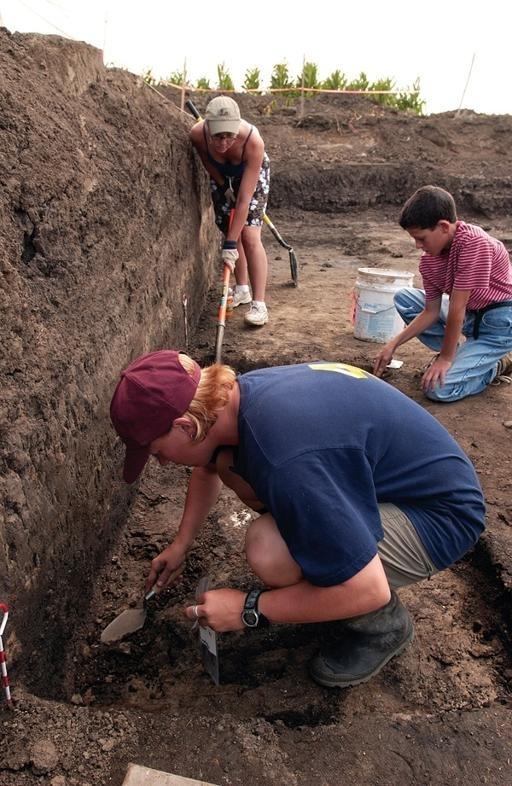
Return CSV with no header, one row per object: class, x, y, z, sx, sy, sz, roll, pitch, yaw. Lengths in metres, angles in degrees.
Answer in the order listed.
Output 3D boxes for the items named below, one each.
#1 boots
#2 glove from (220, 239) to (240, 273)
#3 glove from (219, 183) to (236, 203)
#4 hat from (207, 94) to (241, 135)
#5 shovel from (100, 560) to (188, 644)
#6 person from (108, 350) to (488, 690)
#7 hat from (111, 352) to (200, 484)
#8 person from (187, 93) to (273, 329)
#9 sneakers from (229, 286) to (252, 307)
boots,0.262,0.583,1.771,0.275,0.246,0.113,-4,25,-19
glove,-0.129,-0.716,3.617,0.082,0.160,0.122,-11,9,13
glove,-0.155,-1.128,3.938,0.029,0.077,0.058,-30,32,-23
hat,-0.160,-1.335,3.309,0.139,0.112,0.202,-1,41,-2
shovel,-0.327,0.624,2.045,0.094,0.045,0.380,30,52,27
person,0.102,0.274,1.696,0.881,0.806,0.625,-4,17,13
hat,-0.215,0.062,1.535,0.140,0.244,0.173,30,0,-29
person,-0.123,-0.967,3.918,0.538,1.172,1.056,7,15,0
sneakers,-0.131,-0.618,4.467,0.087,0.103,0.213,4,22,34
